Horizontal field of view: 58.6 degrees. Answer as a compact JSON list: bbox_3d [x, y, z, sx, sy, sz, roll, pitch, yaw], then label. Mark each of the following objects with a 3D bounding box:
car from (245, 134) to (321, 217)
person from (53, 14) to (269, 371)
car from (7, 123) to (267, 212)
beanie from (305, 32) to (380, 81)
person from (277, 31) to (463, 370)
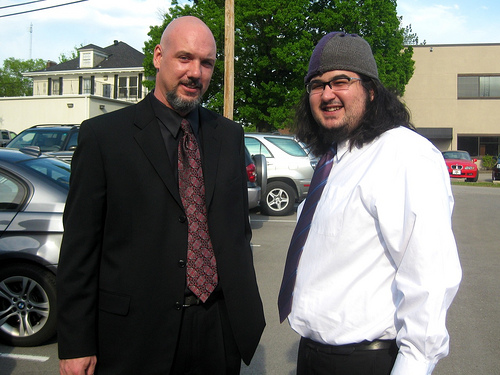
[{"bbox_3d":[0.795,-0.345,10.629,2.148,1.268,1.302,3,2,5],"label":"car"},{"bbox_3d":[-0.450,0.041,2.312,1.055,1.941,0.456,-2,5,-27],"label":"person"},{"bbox_3d":[-2.508,-0.887,9.841,5.054,2.281,2.599,2,4,9],"label":"car"},{"bbox_3d":[0.479,-0.626,2.304,0.259,0.193,0.269,-1,-7,41],"label":"beanie"},{"bbox_3d":[0.567,0.079,2.141,0.886,1.716,0.461,5,7,43],"label":"person"}]
